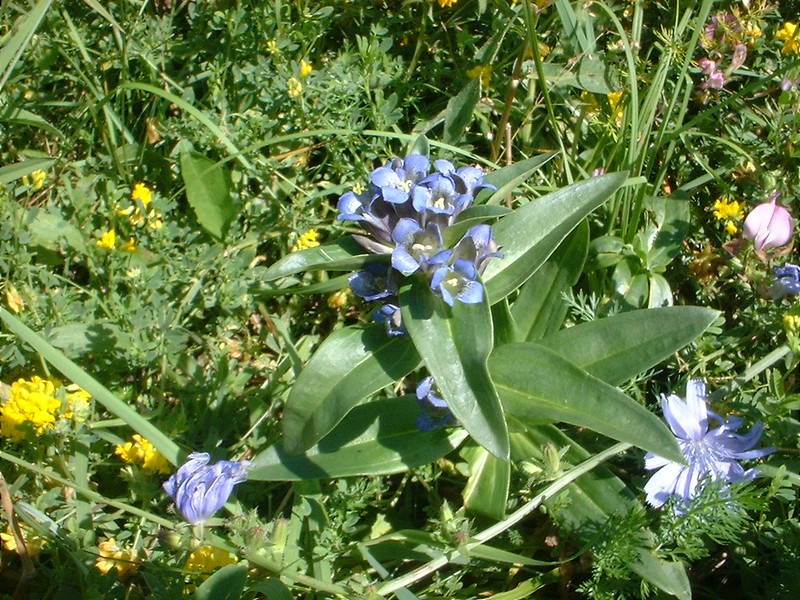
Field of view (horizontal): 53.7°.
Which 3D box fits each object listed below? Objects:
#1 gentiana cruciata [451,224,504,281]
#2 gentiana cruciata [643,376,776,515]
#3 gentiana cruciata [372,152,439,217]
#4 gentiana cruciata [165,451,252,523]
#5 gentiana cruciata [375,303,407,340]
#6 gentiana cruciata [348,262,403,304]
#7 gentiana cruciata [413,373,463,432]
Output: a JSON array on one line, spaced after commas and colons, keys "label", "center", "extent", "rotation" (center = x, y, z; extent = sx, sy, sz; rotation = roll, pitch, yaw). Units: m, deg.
[{"label": "gentiana cruciata", "center": [0.259, -0.185, 2.673], "extent": [0.150, 0.190, 0.164], "rotation": [-6, 15, 8]}, {"label": "gentiana cruciata", "center": [1.089, 0.519, 2.892], "extent": [0.474, 0.366, 0.252], "rotation": [-1, 24, -9]}, {"label": "gentiana cruciata", "center": [0.005, -0.417, 2.769], "extent": [0.198, 0.103, 0.218], "rotation": [-26, 53, 16]}, {"label": "gentiana cruciata", "center": [-0.647, 0.649, 2.611], "extent": [0.260, 0.335, 0.172], "rotation": [2, 51, -22]}, {"label": "gentiana cruciata", "center": [-0.038, 0.071, 2.790], "extent": [0.089, 0.125, 0.045], "rotation": [-24, -23, 28]}, {"label": "gentiana cruciata", "center": [-0.094, -0.060, 2.762], "extent": [0.142, 0.140, 0.069], "rotation": [7, 2, 12]}, {"label": "gentiana cruciata", "center": [0.129, 0.388, 2.877], "extent": [0.077, 0.186, 0.180], "rotation": [-19, 30, -1]}]
